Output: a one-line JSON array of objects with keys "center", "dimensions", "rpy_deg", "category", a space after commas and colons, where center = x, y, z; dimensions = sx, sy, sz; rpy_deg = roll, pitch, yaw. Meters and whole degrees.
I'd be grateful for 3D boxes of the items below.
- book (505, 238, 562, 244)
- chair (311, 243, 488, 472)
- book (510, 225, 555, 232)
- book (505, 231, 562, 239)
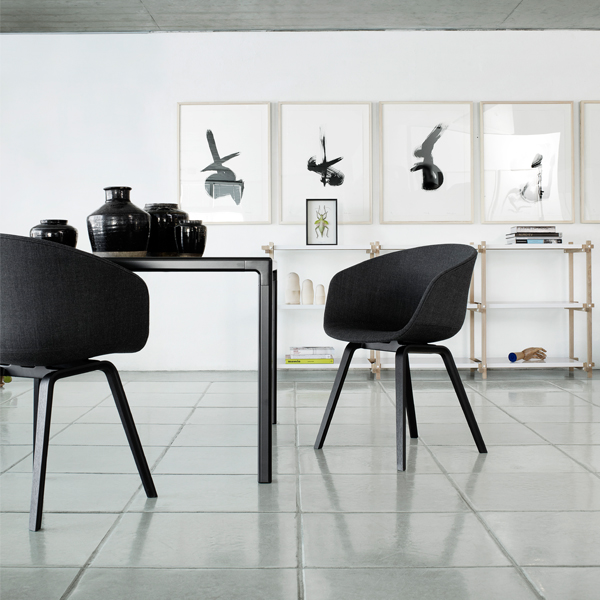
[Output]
[{"center": [1.413, -0.354, 4.291], "dimensions": [0.305, 0.035, 0.113], "rpy_deg": [2, 7, 20], "category": "book"}, {"center": [0.366, 0.178, 2.603], "dimensions": [0.460, 0.789, 0.549], "rpy_deg": [-1, 2, -36], "category": "chair"}, {"center": [1.440, -0.441, 4.398], "dimensions": [0.274, 0.040, 0.239], "rpy_deg": [1, 6, 9], "category": "book"}, {"center": [1.407, -0.389, 4.304], "dimensions": [0.304, 0.039, 0.103], "rpy_deg": [3, 7, 21], "category": "book"}]
